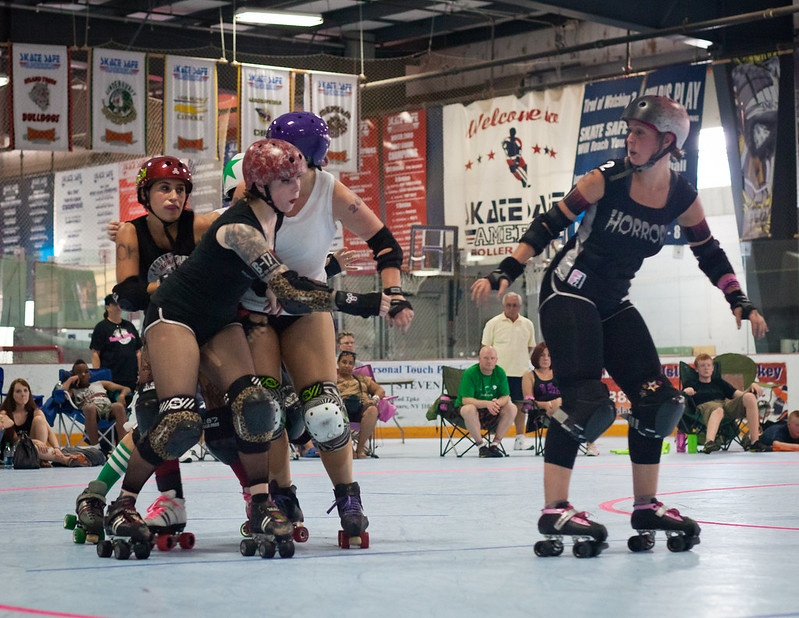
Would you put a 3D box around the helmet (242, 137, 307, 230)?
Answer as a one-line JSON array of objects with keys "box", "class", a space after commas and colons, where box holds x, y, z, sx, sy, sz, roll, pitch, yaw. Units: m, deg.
[{"box": [-0.658, -0.685, 5.512, 0.350, 0.481, 0.314, 8, 18, 26], "class": "helmet"}]

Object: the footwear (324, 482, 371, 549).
[{"box": [-0.292, 1.145, 5.903, 0.186, 0.351, 0.449, 1, 3, -14], "class": "footwear"}]

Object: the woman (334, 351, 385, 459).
[{"box": [-0.569, 1.138, 12.650, 0.700, 1.240, 0.633, -6, -5, 0], "class": "woman"}]

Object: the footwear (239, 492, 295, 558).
[{"box": [-0.726, 1.186, 5.707, 0.175, 0.342, 0.566, 6, -11, -24], "class": "footwear"}]

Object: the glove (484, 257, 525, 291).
[{"box": [0.581, -0.207, 5.677, 0.216, 0.160, 0.093, -39, -24, -12], "class": "glove"}]

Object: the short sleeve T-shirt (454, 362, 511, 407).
[{"box": [1.059, 0.995, 13.234, 0.813, 0.709, 0.424, 3, -12, -9], "class": "short sleeve T-shirt"}]

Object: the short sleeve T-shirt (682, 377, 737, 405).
[{"box": [3.923, 1.010, 13.075, 0.389, 0.169, 0.413, 2, 10, 3], "class": "short sleeve T-shirt"}]

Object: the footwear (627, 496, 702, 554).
[{"box": [1.434, 1.178, 5.613, 0.386, 0.306, 0.220, -3, -4, 16], "class": "footwear"}]

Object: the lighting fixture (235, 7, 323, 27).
[{"box": [-1.968, -4.943, 17.530, 1.330, 0.166, 0.740, 1, -1, -16], "class": "lighting fixture"}]

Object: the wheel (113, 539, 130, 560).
[{"box": [-1.467, 1.267, 5.490, 0.075, 0.149, 0.141, 2, -24, -22], "class": "wheel"}]

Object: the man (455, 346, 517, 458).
[{"box": [1.098, 1.144, 13.072, 0.676, 1.368, 0.916, 0, 2, 3], "class": "man"}]

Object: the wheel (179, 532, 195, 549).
[{"box": [-1.177, 1.287, 5.773, 0.042, 0.070, 0.074, -18, -50, 28], "class": "wheel"}]

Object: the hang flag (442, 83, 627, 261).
[{"box": [1.863, -1.957, 14.459, 3.077, 3.117, 0.322, -5, -12, 39], "class": "hang flag"}]

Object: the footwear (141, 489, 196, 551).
[{"box": [-1.271, 1.183, 5.941, 0.238, 0.385, 0.492, 0, -3, 11], "class": "footwear"}]

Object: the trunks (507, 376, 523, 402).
[{"box": [1.526, 1.059, 13.654, 0.266, 0.396, 0.210, 0, -15, -3], "class": "trunks"}]

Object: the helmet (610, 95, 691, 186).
[{"box": [1.527, -0.972, 6.056, 0.455, 0.604, 0.397, 8, 4, -5], "class": "helmet"}]

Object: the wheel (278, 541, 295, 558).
[{"box": [-0.596, 1.266, 5.512, 0.081, 0.081, 0.136, 0, 2, -5], "class": "wheel"}]

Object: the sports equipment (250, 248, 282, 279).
[{"box": [-0.688, -0.224, 5.397, 0.068, 0.115, 0.160, 48, -5, 44], "class": "sports equipment"}]

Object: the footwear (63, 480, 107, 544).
[{"box": [-1.865, 1.165, 6.094, 0.203, 0.284, 0.425, 7, -7, -23], "class": "footwear"}]

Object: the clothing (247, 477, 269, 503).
[{"box": [-0.781, 0.993, 5.684, 0.112, 0.105, 0.112, -5, -6, 28], "class": "clothing"}]

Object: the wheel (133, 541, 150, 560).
[{"box": [-1.366, 1.275, 5.512, 0.086, 0.094, 0.040, 2, 0, 26], "class": "wheel"}]

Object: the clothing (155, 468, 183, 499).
[{"box": [-1.322, 1.008, 6.007, 0.173, 0.192, 0.149, -4, -8, 1], "class": "clothing"}]

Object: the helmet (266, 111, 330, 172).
[{"box": [-0.591, -0.998, 6.101, 0.353, 0.363, 0.282, -13, 13, -9], "class": "helmet"}]

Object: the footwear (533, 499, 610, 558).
[{"box": [0.916, 1.178, 5.508, 0.366, 0.298, 0.211, -2, -5, 14], "class": "footwear"}]

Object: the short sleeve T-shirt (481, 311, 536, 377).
[{"box": [1.517, 0.475, 14.084, 0.729, 0.890, 0.478, 0, 6, 3], "class": "short sleeve T-shirt"}]

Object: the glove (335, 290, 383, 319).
[{"box": [-0.211, -0.022, 5.467, 0.195, 0.134, 0.082, 1, 27, -9], "class": "glove"}]

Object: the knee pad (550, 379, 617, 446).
[{"box": [1.018, 0.554, 5.707, 0.350, 0.289, 0.169, 43, 0, 11], "class": "knee pad"}]

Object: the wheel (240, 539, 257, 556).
[{"box": [-0.799, 1.267, 5.532, 0.071, 0.124, 0.117, -1, -4, -24], "class": "wheel"}]

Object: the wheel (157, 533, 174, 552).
[{"box": [-1.294, 1.292, 5.756, 0.035, 0.071, 0.069, -2, -30, 38], "class": "wheel"}]

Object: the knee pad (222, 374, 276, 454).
[{"box": [-0.810, 0.560, 5.627, 0.284, 0.400, 0.134, -14, 1, -44], "class": "knee pad"}]

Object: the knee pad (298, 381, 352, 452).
[{"box": [-0.406, 0.597, 5.791, 0.242, 0.387, 0.123, -19, 4, 15], "class": "knee pad"}]

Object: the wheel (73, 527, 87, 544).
[{"box": [-1.825, 1.296, 5.962, 0.069, 0.095, 0.066, 0, 1, 0], "class": "wheel"}]

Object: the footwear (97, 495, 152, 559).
[{"box": [-1.460, 1.191, 5.551, 0.177, 0.327, 0.409, 5, -8, -41], "class": "footwear"}]

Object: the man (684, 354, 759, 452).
[{"box": [4.018, 1.202, 12.962, 0.823, 1.341, 0.971, 6, -32, 1], "class": "man"}]
